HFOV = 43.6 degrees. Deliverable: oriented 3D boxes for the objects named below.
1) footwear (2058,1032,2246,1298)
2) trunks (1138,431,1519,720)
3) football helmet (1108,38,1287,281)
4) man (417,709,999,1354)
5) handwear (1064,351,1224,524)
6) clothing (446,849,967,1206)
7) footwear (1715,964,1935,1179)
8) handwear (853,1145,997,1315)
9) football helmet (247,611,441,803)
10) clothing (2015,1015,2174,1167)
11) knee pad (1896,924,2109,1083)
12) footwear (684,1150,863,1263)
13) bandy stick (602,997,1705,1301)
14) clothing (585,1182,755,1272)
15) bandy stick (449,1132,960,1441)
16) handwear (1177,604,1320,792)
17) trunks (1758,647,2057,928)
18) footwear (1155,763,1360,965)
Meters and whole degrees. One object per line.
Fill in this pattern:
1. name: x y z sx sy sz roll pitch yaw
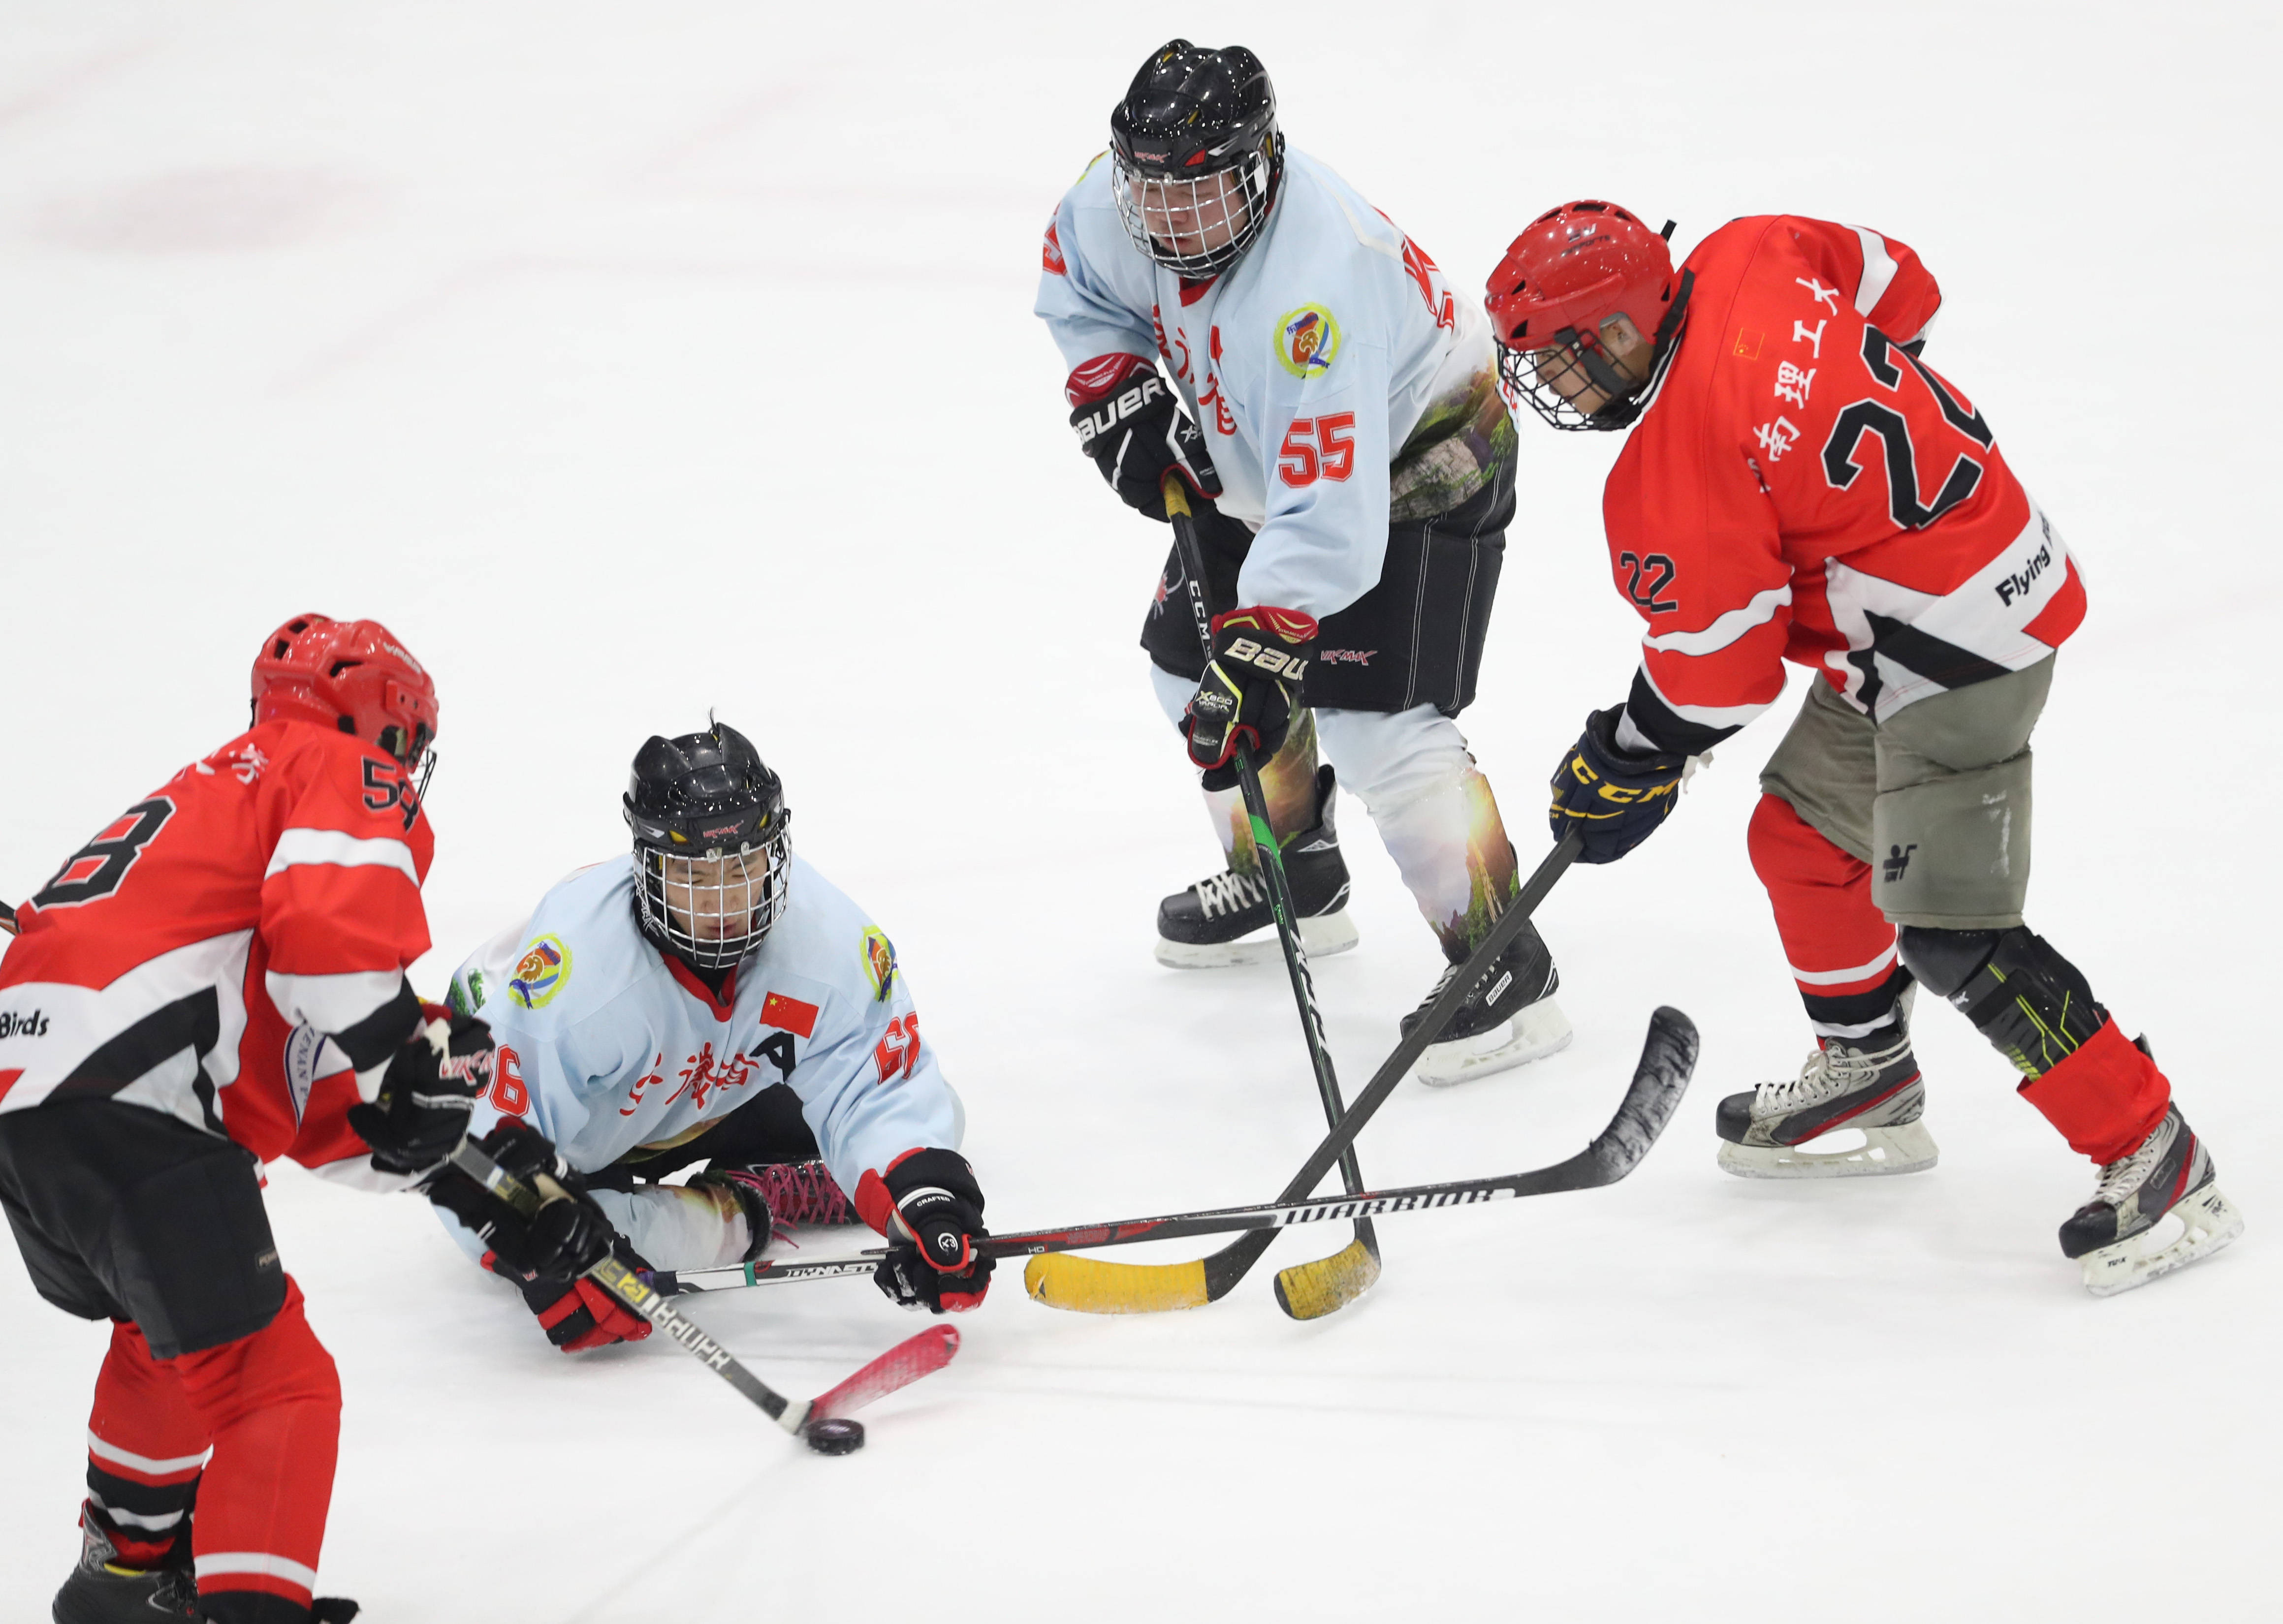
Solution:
1. footwear: 1.714 0.598 4.909 0.332 0.360 0.093 -26 18 -13
2. trunks: 0.415 -0.609 5.826 0.781 0.777 0.496 3 8 31
3. football helmet: 0.093 -1.247 5.377 0.320 0.439 0.397 17 46 21
4. man: -0.728 0.357 5.058 1.209 1.031 0.892 12 21 36
5. handwear: 0.011 -0.760 5.818 0.232 0.373 0.112 -34 4 3
6. clothing: -0.750 0.382 5.027 0.657 0.477 0.684 -6 36 -29
7. footwear: 1.249 0.458 5.256 0.425 0.456 0.145 -5 28 7
8. handwear: -0.415 0.745 4.925 0.309 0.149 0.230 -7 25 -3
9. football helmet: -1.282 -0.155 4.619 0.245 0.321 0.325 5 -13 19
10. clothing: 1.641 0.480 4.911 0.216 0.075 0.246 -27 55 8
11. knee pad: 1.492 0.290 4.971 0.210 0.357 0.141 -46 -9 3
12. footwear: -0.718 0.699 5.300 0.388 0.175 0.137 -5 5 0
13. bandy stick: 0.277 0.676 5.538 0.245 0.304 1.986 3 -12 -40
14. clothing: -0.835 0.742 5.104 0.226 0.092 0.139 25 22 -22
15. bandy stick: -0.773 0.813 4.815 0.271 0.289 0.993 -25 47 -37
16. handwear: 0.210 -0.227 5.402 0.194 0.334 0.104 28 0 22
17. trunks: 1.323 -0.043 4.980 0.226 0.398 0.410 -8 23 -22
18. footwear: 0.254 0.124 5.999 0.415 0.424 0.145 -5 46 4
